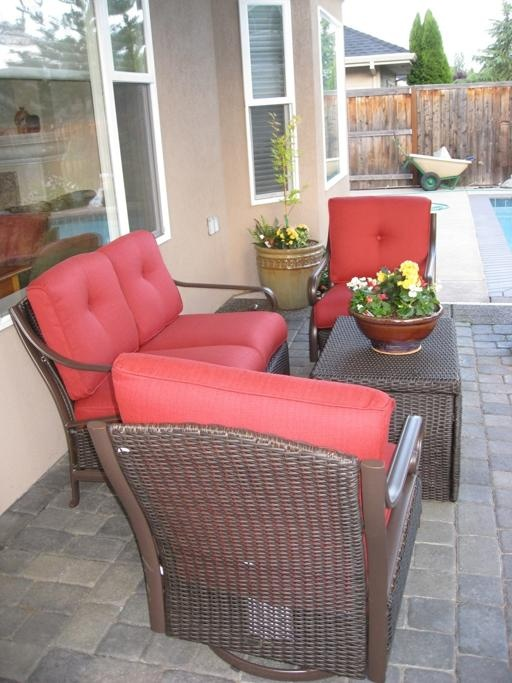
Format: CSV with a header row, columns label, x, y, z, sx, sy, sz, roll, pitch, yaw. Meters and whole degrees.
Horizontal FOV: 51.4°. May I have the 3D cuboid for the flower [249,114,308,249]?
label,x,y,z,sx,sy,sz,roll,pitch,yaw
flower,0.178,-1.473,4.849,0.530,1.160,0.882,-5,20,4

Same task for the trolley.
label,x,y,z,sx,sy,sz,roll,pitch,yaw
trolley,3.886,-3.873,11.711,1.579,0.926,0.860,1,21,6
